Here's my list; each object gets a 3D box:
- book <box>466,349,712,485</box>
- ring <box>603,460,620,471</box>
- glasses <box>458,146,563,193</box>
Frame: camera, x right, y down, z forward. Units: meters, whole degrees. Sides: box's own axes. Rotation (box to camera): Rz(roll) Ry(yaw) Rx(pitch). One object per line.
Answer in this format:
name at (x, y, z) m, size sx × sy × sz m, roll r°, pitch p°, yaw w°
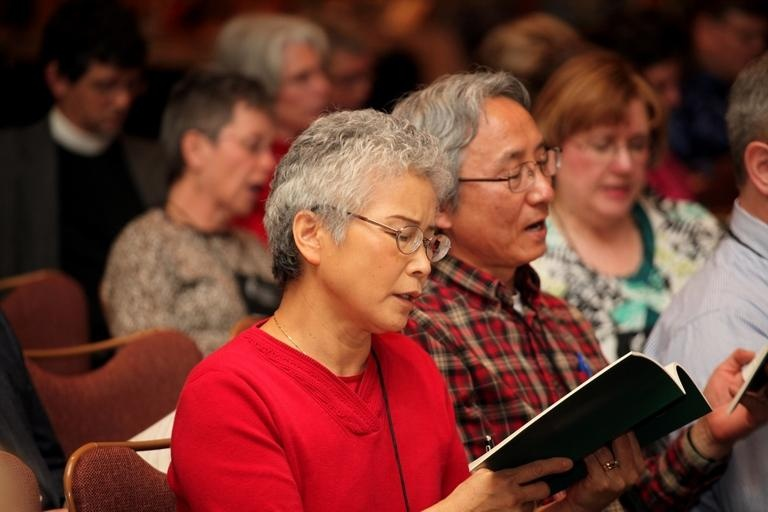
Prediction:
book at (0.486, 0.398, 1.921) m, size 0.473 × 0.429 × 0.123 m, roll 18°, pitch 43°, yaw -58°
ring at (0.604, 0.552, 2.077) m, size 0.032 × 0.025 × 0.013 m, roll -22°, pitch 68°, yaw 22°
glasses at (0.434, -0.256, 2.412) m, size 0.195 × 0.058 × 0.189 m, roll -3°, pitch 12°, yaw 35°
